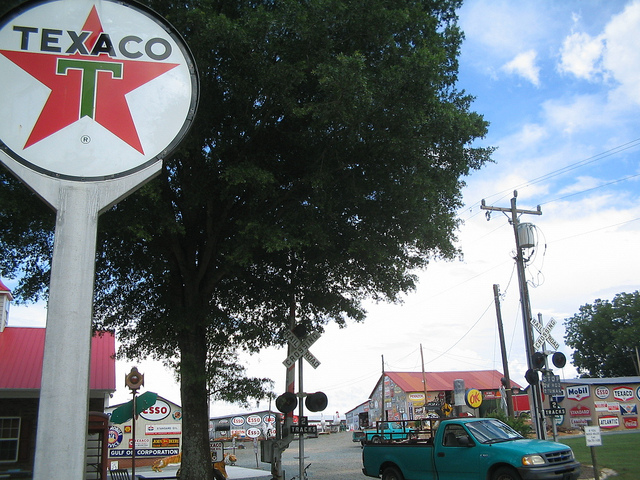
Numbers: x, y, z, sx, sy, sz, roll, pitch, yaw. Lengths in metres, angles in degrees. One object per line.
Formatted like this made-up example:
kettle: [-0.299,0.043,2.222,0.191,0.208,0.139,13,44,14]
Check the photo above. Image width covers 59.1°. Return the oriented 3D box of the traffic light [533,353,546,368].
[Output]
traffic light: [7.676,4.250,19.895,0.435,0.489,0.162,14,-3,-22]

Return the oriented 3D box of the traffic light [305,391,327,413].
traffic light: [-0.114,4.630,16.063,0.553,0.477,0.467,-3,-18,-9]

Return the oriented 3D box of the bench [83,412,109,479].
bench: [-7.790,7.236,19.830,0.692,2.136,1.572,2,-19,-22]

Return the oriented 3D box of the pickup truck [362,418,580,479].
pickup truck: [4.053,6.189,16.458,2.183,1.840,6.109,11,-26,-42]

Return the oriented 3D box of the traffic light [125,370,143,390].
traffic light: [-6.317,4.793,19.283,0.537,0.720,0.858,1,-19,-19]
